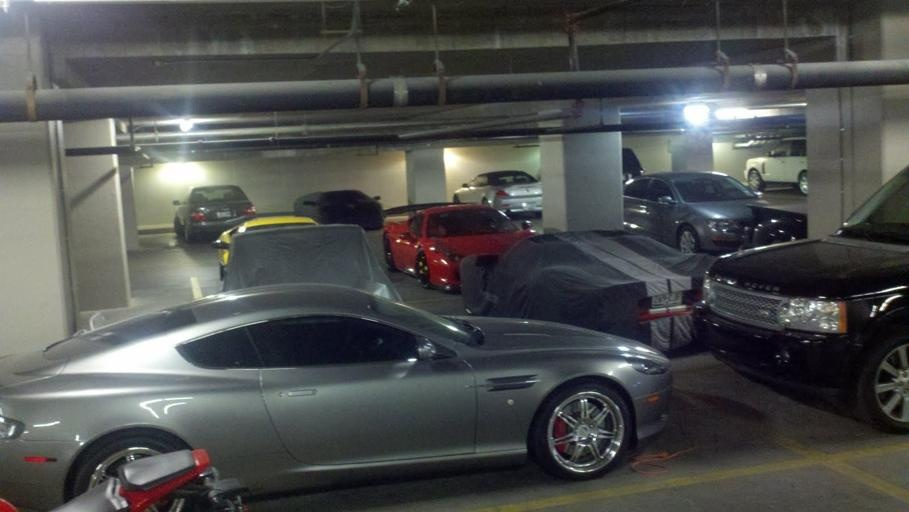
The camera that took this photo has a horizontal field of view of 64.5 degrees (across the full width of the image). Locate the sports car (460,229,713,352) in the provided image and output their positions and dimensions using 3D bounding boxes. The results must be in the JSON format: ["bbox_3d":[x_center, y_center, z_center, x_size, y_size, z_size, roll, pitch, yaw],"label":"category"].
[{"bbox_3d":[2.018,0.345,11.408,2.015,0.807,3.004,-5,12,-22],"label":"sports car"}]

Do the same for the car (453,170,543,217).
[{"bbox_3d":[1.598,-2.354,26.615,1.720,0.861,3.083,-2,11,-20],"label":"car"}]

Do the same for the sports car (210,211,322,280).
[{"bbox_3d":[-4.457,-0.569,15.765,2.515,0.914,3.624,-4,10,-18],"label":"sports car"}]
